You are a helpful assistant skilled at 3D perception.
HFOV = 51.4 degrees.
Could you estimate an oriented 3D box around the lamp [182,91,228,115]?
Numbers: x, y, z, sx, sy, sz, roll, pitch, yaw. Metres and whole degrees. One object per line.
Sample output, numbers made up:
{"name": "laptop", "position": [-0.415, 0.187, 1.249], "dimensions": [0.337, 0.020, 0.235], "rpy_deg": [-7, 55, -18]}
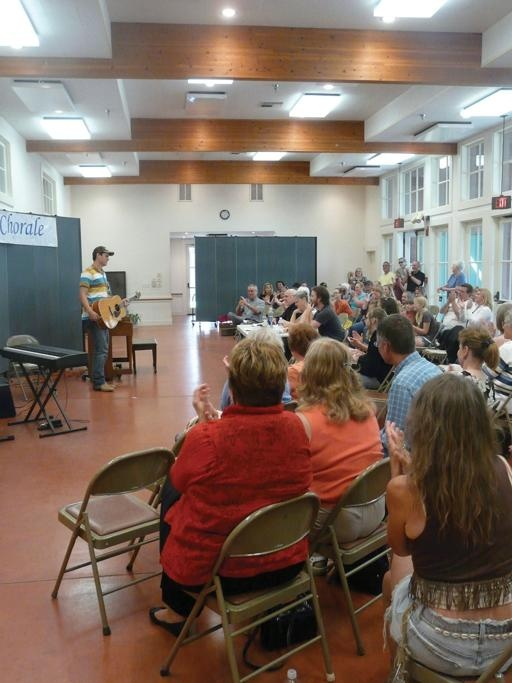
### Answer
{"name": "lamp", "position": [-0.788, -3.894, 8.557], "dimensions": [0.521, 0.115, 0.472], "rpy_deg": [-2, -11, -6]}

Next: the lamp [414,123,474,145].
{"name": "lamp", "position": [3.501, -3.875, 9.919], "dimensions": [0.603, 0.121, 0.548], "rpy_deg": [0, -4, -22]}

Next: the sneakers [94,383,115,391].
{"name": "sneakers", "position": [-1.945, 0.597, 6.832], "dimensions": [0.258, 0.105, 0.096], "rpy_deg": [-6, -7, 30]}

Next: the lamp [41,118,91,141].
{"name": "lamp", "position": [-3.187, -3.580, 8.965], "dimensions": [0.455, 0.107, 0.473], "rpy_deg": [-7, -9, 21]}

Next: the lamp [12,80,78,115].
{"name": "lamp", "position": [-2.862, -3.374, 7.248], "dimensions": [0.649, 0.143, 0.589], "rpy_deg": [-4, -11, -3]}

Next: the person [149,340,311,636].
{"name": "person", "position": [-0.121, 0.479, 1.659], "dimensions": [0.411, 0.973, 0.508], "rpy_deg": [-7, 9, -40]}

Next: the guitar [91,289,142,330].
{"name": "guitar", "position": [-2.244, -0.499, 8.693], "dimensions": [0.186, 0.590, 1.397], "rpy_deg": [-11, 12, 15]}

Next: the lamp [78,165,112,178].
{"name": "lamp", "position": [-4.034, -4.252, 13.299], "dimensions": [0.447, 0.098, 0.402], "rpy_deg": [-1, 2, -37]}
